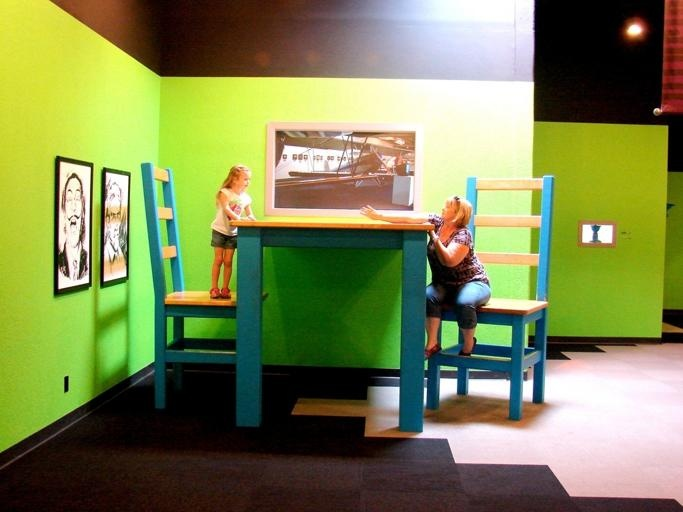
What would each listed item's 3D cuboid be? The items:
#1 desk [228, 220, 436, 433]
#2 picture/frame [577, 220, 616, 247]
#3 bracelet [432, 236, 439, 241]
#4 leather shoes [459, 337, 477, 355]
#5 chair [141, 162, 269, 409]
[{"bbox_3d":[-0.017,0.426,4.183,1.278,1.265,1.272,1,-1,6],"label":"desk"},{"bbox_3d":[2.620,-0.239,5.990,0.278,0.203,0.044,0,4,2],"label":"picture/frame"},{"bbox_3d":[0.630,-0.118,3.923,0.033,0.023,0.033,2,8,5],"label":"bracelet"},{"bbox_3d":[0.893,0.642,4.123,0.086,0.088,0.242,-11,-13,5],"label":"leather shoes"},{"bbox_3d":[-1.003,0.180,4.225,0.912,1.585,0.887,0,3,-33],"label":"chair"}]
